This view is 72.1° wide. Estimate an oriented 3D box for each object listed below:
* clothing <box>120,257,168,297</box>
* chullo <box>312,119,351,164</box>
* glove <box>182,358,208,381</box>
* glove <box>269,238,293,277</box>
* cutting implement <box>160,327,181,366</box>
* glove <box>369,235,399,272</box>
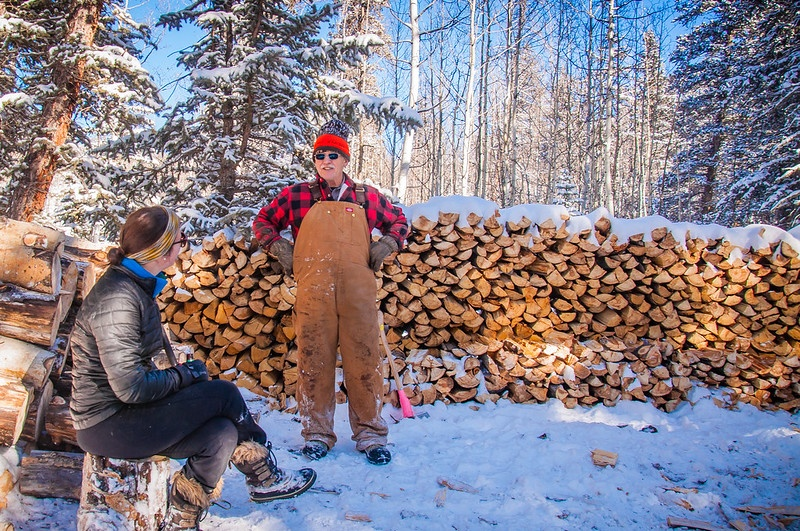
[{"bbox_3d":[-2.830,0.089,6.053,0.464,0.307,0.369,40,0,-26],"label":"clothing"},{"bbox_3d":[-0.873,-1.688,7.446,0.481,0.512,0.535,17,-7,-10],"label":"chullo"},{"bbox_3d":[-2.339,1.198,6.262,0.247,0.270,0.205,-11,-19,37],"label":"glove"},{"bbox_3d":[-1.504,-0.129,7.380,0.354,0.469,0.142,-38,-16,20],"label":"glove"},{"bbox_3d":[-2.915,1.032,6.906,0.129,0.552,0.079,-12,12,-7],"label":"cutting implement"},{"bbox_3d":[-0.223,-0.179,7.323,0.373,0.442,0.177,41,-8,50],"label":"glove"}]
